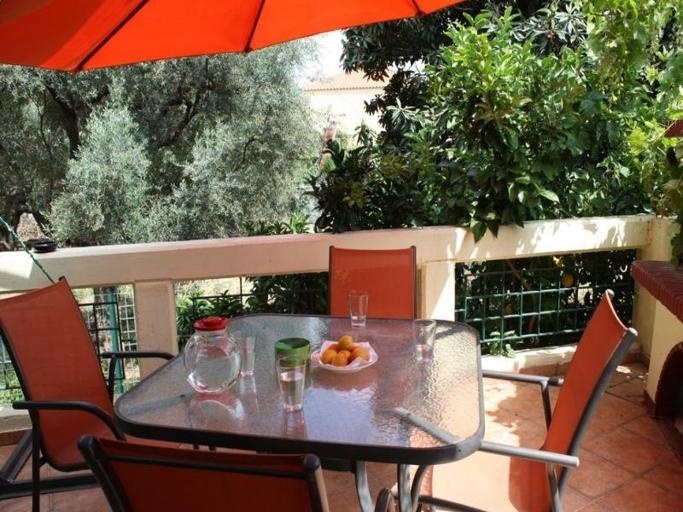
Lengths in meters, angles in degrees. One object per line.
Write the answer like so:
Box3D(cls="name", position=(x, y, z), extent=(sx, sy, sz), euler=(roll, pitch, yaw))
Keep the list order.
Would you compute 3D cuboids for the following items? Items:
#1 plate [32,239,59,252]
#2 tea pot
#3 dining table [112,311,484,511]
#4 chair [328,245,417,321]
Box3D(cls="plate", position=(-1.928, -0.067, 3.976), extent=(0.098, 0.047, 0.102), euler=(-3, 14, -17))
Box3D(cls="tea pot", position=(-0.531, 0.399, 2.525), extent=(0.172, 0.353, 0.186), euler=(3, 7, 0))
Box3D(cls="dining table", position=(-0.078, 0.846, 2.793), extent=(1.394, 0.897, 1.348), euler=(1, 7, 7))
Box3D(cls="chair", position=(0.181, 0.129, 3.723), extent=(0.352, 0.846, 0.432), euler=(1, 4, 7))
